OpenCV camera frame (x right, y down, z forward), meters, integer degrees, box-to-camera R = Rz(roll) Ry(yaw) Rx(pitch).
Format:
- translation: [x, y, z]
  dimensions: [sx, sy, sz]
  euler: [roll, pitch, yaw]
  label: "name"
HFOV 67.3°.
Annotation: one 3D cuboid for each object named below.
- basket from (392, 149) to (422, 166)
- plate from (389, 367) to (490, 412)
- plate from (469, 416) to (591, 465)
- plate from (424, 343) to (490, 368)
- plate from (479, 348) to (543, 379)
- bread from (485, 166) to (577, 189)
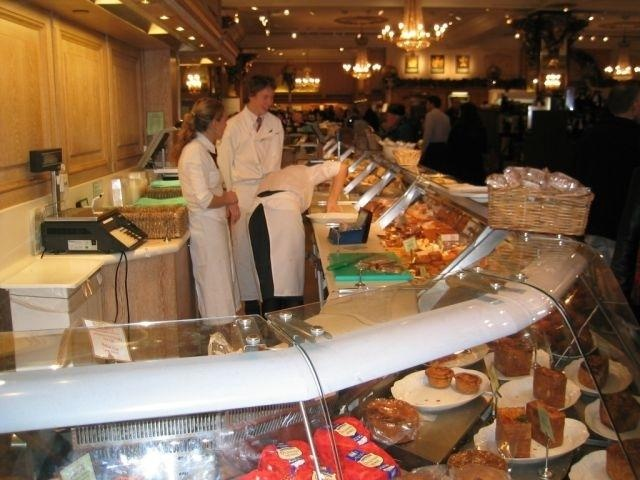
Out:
- translation: [0.840, -0.807, 4.605]
  dimensions: [0.212, 0.120, 0.203]
  euler: [-4, 8, -9]
  label: "basket"
- translation: [0.291, 0.348, 1.178]
  dimensions: [0.195, 0.031, 0.161]
  euler: [-8, 16, -23]
  label: "plate"
- translation: [0.523, 0.473, 1.187]
  dimensions: [0.177, 0.028, 0.146]
  euler: [-4, 6, -4]
  label: "plate"
- translation: [0.331, 0.275, 1.143]
  dimensions: [0.091, 0.015, 0.087]
  euler: [-17, 7, -15]
  label: "plate"
- translation: [0.484, 0.293, 1.236]
  dimensions: [0.094, 0.037, 0.119]
  euler: [-1, 5, -6]
  label: "plate"
- translation: [0.769, -0.226, 1.761]
  dimensions: [0.200, 0.059, 0.146]
  euler: [6, 9, 10]
  label: "bread"
